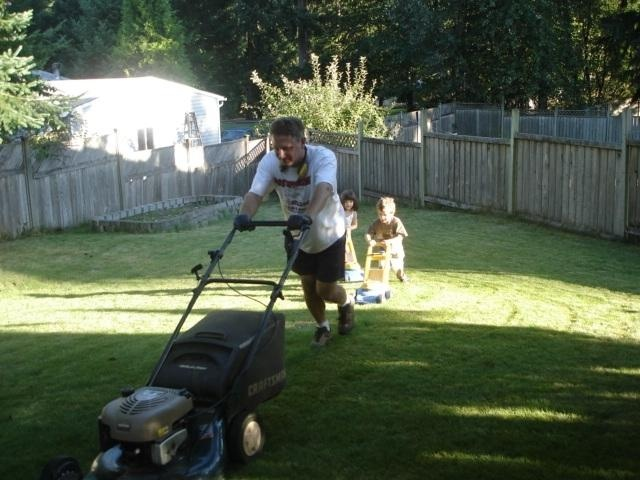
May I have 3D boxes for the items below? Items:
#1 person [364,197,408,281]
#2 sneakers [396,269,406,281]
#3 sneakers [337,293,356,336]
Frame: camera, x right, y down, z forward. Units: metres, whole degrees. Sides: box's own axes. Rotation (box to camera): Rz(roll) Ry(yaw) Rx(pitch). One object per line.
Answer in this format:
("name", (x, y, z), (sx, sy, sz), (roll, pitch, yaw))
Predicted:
("person", (0.941, 0.013, 9.911), (0.574, 1.176, 0.789), (0, 14, 6))
("sneakers", (1.152, 0.495, 9.968), (0.132, 0.193, 0.113), (0, 14, 6))
("sneakers", (0.280, 0.806, 7.635), (0.145, 0.465, 0.176), (-1, -9, 24))
